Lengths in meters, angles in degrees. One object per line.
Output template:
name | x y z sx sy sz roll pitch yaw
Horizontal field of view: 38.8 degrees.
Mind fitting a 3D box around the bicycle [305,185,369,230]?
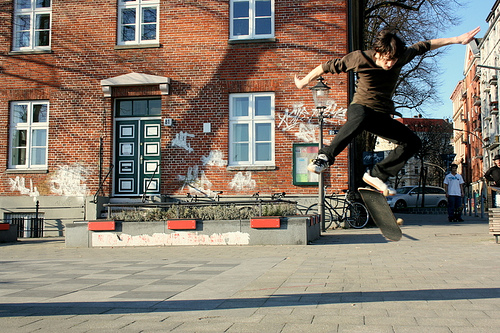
bicycle | 2.954 1.438 23.937 2.672 1.411 1.219 1 -5 -35
